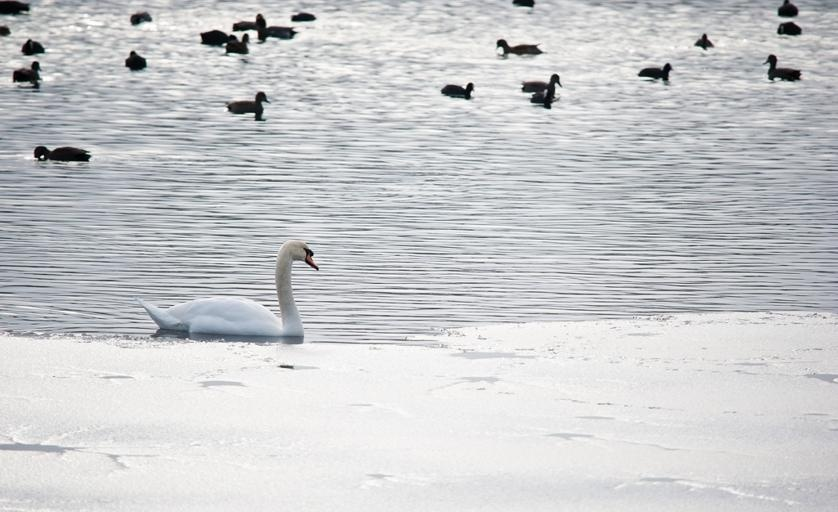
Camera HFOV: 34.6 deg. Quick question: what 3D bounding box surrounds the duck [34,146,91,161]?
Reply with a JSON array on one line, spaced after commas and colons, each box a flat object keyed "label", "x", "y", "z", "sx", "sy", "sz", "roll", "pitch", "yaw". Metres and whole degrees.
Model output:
[{"label": "duck", "x": -9.930, "y": -2.835, "z": 37.579, "sx": 1.649, "sy": 0.366, "sz": 0.521, "roll": -1, "pitch": 3, "yaw": 21}]

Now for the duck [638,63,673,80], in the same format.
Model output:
[{"label": "duck", "x": 9.702, "y": -7.609, "z": 55.895, "sx": 1.214, "sy": 0.634, "sz": 0.829, "roll": 1, "pitch": 2, "yaw": 9}]

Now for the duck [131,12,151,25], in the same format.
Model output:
[{"label": "duck", "x": -13.503, "y": -11.532, "z": 65.519, "sx": 0.951, "sy": 0.379, "sz": 1.033, "roll": -1, "pitch": 8, "yaw": -14}]

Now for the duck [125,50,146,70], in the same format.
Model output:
[{"label": "duck", "x": -11.355, "y": -7.858, "z": 54.441, "sx": 1.006, "sy": 0.514, "sz": 0.981, "roll": -1, "pitch": 18, "yaw": -5}]
